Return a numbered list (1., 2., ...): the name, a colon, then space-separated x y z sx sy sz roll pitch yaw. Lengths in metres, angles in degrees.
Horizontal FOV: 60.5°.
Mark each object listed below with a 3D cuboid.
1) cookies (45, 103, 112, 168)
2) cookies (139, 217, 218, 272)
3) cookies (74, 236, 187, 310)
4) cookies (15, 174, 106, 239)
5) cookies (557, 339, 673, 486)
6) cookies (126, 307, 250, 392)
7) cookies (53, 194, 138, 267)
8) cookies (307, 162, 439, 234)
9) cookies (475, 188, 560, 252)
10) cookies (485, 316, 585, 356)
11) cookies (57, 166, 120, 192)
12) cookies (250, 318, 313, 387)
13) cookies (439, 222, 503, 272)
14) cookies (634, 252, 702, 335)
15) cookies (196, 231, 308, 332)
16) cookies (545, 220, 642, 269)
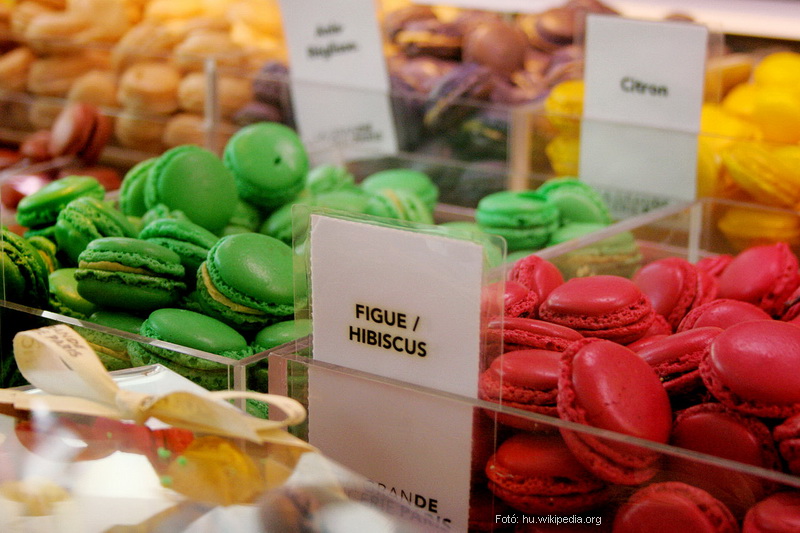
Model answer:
1. cookies: -0.786 -0.327 1.694 0.141 0.133 0.068 5 -24 48
2. cookies: -0.396 -0.050 1.256 0.122 0.059 0.118 31 7 41
3. cookies: -0.442 0.018 1.145 0.158 0.100 0.123 7 -3 -19
4. cookies: -0.754 -0.144 1.558 0.160 0.067 0.134 -31 3 -25
5. cookies: 0.243 0.166 0.808 0.163 0.073 0.167 36 33 0
6. cookies: -0.311 0.129 1.007 0.133 0.063 0.120 23 4 32
7. cookies: -0.618 -0.058 1.397 0.138 0.078 0.161 39 19 35
8. cookies: -0.059 -0.172 1.652 0.283 0.099 0.229 12 7 -4
9. cookies: 0.272 -0.109 1.581 0.183 0.088 0.173 1 18 3
10. cookies: 0.180 0.092 0.924 0.095 0.032 0.080 6 -2 19
11. cookies: -0.765 -0.225 1.703 0.091 0.036 0.087 -2 15 -18
12. cookies: -0.177 0.138 1.039 0.035 0.104 0.113 29 -29 -23
13. cookies: 0.079 -0.020 0.750 0.069 0.043 0.035 9 17 37
14. cookies: 0.463 0.040 1.165 0.112 0.055 0.116 -2 49 11
15. cookies: -0.241 0.026 1.161 0.182 0.121 0.167 25 26 -15
16. cookies: 0.405 -0.042 1.448 0.131 0.074 0.150 -2 2 0
